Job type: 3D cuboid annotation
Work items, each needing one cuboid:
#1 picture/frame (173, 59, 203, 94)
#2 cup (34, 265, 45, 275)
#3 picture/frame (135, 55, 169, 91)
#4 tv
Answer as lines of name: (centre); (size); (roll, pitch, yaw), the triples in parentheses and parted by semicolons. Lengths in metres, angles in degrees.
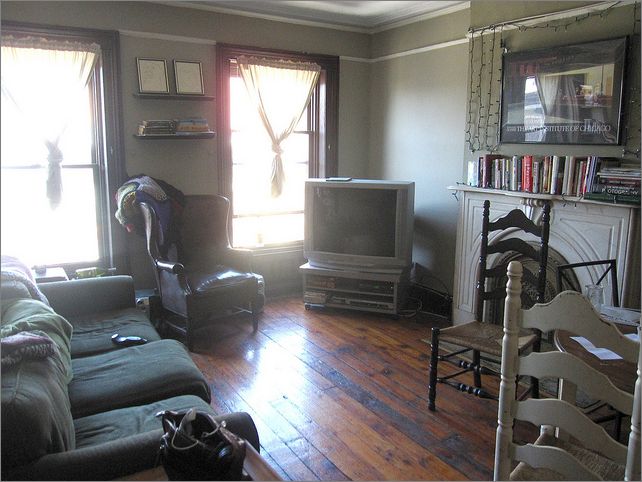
picture/frame: (-1.253, -1.519, 4.565); (0.296, 0.350, 0.034); (-8, 11, -39)
cup: (-2.317, 0.244, 4.041); (0.066, 0.055, 0.083); (0, 2, -35)
picture/frame: (-1.535, -1.490, 4.408); (0.307, 0.383, 0.026); (-5, 4, -36)
tv: (0.426, -0.106, 5.077); (1.351, 1.277, 0.769); (2, 7, 16)
